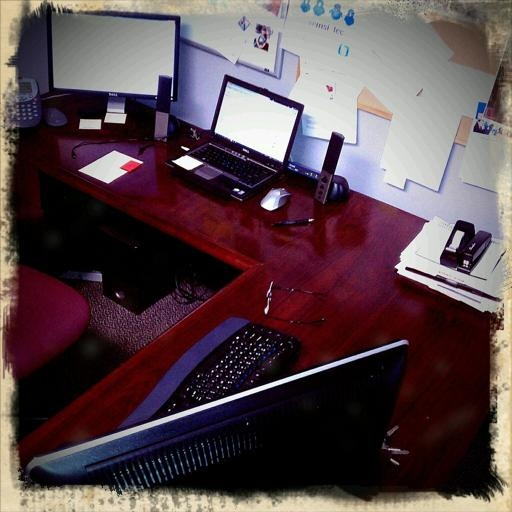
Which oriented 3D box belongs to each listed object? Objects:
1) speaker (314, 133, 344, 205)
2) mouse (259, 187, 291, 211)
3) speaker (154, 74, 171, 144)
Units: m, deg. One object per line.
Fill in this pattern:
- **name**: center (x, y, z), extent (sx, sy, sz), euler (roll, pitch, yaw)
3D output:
- **speaker**: center (0.273, -0.339, 1.706), extent (0.097, 0.248, 0.069), euler (29, 47, 29)
- **mouse**: center (0.070, -0.240, 1.702), extent (0.071, 0.037, 0.108), euler (24, 52, 26)
- **speaker**: center (-0.428, -0.677, 2.026), extent (0.057, 0.332, 0.077), euler (-2, 52, -19)
